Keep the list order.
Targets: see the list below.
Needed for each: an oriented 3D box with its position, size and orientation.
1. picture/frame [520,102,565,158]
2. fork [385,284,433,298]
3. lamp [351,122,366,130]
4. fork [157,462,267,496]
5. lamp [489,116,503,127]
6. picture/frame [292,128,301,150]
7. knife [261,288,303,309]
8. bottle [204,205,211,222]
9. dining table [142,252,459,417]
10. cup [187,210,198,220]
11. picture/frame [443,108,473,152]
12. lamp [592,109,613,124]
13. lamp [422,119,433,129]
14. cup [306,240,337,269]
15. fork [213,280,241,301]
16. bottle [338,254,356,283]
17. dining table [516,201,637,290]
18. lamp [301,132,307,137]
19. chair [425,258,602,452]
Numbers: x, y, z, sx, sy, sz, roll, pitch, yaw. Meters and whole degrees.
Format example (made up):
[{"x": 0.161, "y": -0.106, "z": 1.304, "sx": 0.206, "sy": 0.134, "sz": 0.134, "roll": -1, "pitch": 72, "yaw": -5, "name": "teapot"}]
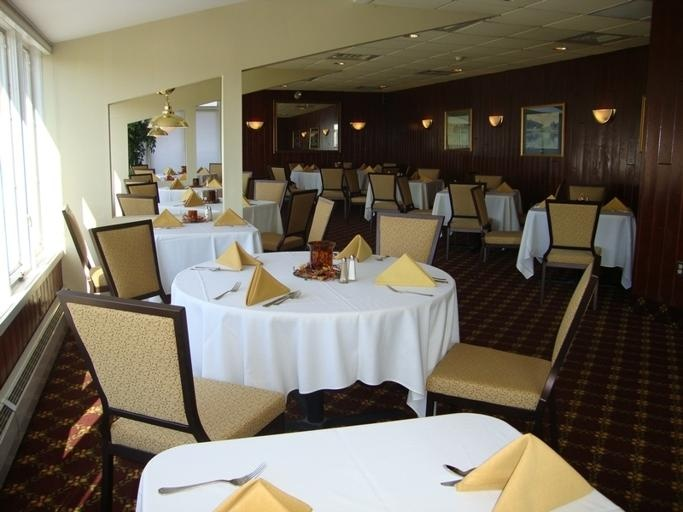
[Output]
[{"x": 4.423, "y": -2.759, "z": 10.257, "sx": 0.241, "sy": 1.099, "sz": 1.246, "roll": -6, "pitch": 14, "yaw": -16, "name": "picture/frame"}, {"x": 0.399, "y": 0.206, "z": 2.704, "sx": 0.223, "sy": 0.033, "sz": 0.034, "roll": 9, "pitch": -1, "yaw": 0, "name": "fork"}, {"x": 0.545, "y": -4.262, "z": 15.232, "sx": 0.281, "sy": 0.189, "sz": 0.296, "roll": 1, "pitch": 6, "yaw": 16, "name": "lamp"}, {"x": -0.329, "y": 0.566, "z": 1.172, "sx": 0.246, "sy": 0.046, "sz": 0.041, "roll": -8, "pitch": 24, "yaw": -5, "name": "fork"}, {"x": 3.747, "y": -3.306, "z": 11.397, "sx": 0.193, "sy": 0.277, "sz": 0.439, "roll": -7, "pitch": 15, "yaw": -21, "name": "lamp"}, {"x": -1.450, "y": -3.709, "z": 14.827, "sx": 0.289, "sy": 0.622, "sz": 0.429, "roll": -4, "pitch": 14, "yaw": -8, "name": "picture/frame"}, {"x": -0.317, "y": 0.233, "z": 2.529, "sx": 0.064, "sy": 0.041, "sz": 0.291, "roll": 34, "pitch": 24, "yaw": 10, "name": "knife"}, {"x": -1.474, "y": -0.476, "z": 5.118, "sx": 0.061, "sy": 0.141, "sz": 0.399, "roll": -6, "pitch": 14, "yaw": -14, "name": "bottle"}, {"x": -0.192, "y": 0.387, "z": 2.647, "sx": 1.029, "sy": 0.627, "sz": 1.062, "roll": -2, "pitch": 11, "yaw": -14, "name": "dining table"}, {"x": -1.570, "y": -0.433, "z": 4.895, "sx": 0.113, "sy": 0.137, "sz": 0.115, "roll": 0, "pitch": 9, "yaw": 0, "name": "cup"}, {"x": 3.187, "y": -3.435, "z": 12.596, "sx": 0.088, "sy": 1.365, "sz": 1.216, "roll": -5, "pitch": 8, "yaw": -28, "name": "picture/frame"}, {"x": 5.027, "y": -2.691, "z": 8.975, "sx": 0.150, "sy": 0.311, "sz": 0.458, "roll": -7, "pitch": 14, "yaw": -19, "name": "lamp"}, {"x": 2.515, "y": -3.884, "z": 13.637, "sx": 0.259, "sy": 0.223, "sz": 0.240, "roll": 3, "pitch": 10, "yaw": 33, "name": "lamp"}, {"x": -0.121, "y": -0.027, "z": 2.980, "sx": 0.169, "sy": 0.157, "sz": 0.152, "roll": -11, "pitch": 19, "yaw": -34, "name": "cup"}, {"x": -0.642, "y": 0.198, "z": 2.642, "sx": 0.038, "sy": 0.035, "sz": 0.236, "roll": -2, "pitch": 28, "yaw": 34, "name": "fork"}, {"x": 0.051, "y": 0.086, "z": 2.953, "sx": 0.145, "sy": 0.229, "sz": 0.122, "roll": 0, "pitch": 9, "yaw": 11, "name": "bottle"}, {"x": 2.996, "y": -0.264, "z": 5.953, "sx": 1.092, "sy": 0.737, "sz": 1.146, "roll": 2, "pitch": 10, "yaw": 20, "name": "dining table"}, {"x": -1.207, "y": -3.864, "z": 14.787, "sx": 0.223, "sy": 0.183, "sz": 0.117, "roll": -11, "pitch": 16, "yaw": -33, "name": "lamp"}, {"x": 1.216, "y": 0.644, "z": 3.174, "sx": 0.822, "sy": 1.300, "sz": 0.686, "roll": 10, "pitch": 17, "yaw": 21, "name": "chair"}]
